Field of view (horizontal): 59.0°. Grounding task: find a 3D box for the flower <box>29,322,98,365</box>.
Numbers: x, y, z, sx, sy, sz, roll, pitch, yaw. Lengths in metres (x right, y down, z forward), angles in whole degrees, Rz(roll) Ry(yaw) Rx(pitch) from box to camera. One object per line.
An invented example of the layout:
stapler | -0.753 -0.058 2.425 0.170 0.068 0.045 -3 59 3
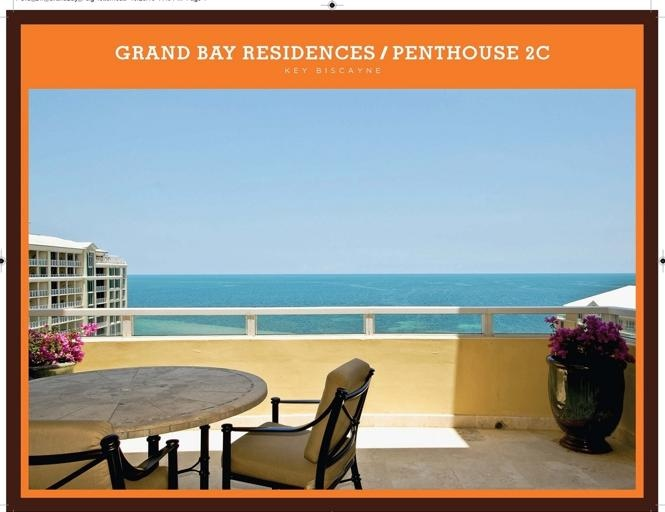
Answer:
flower | -2.216 0.727 4.702 0.579 0.273 0.535 -1 -4 32

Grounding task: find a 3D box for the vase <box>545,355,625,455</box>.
vase | 1.906 1.134 4.481 0.586 0.616 0.612 -6 -15 39

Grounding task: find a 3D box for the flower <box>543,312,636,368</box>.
flower | 1.982 0.675 4.503 0.592 0.372 0.568 0 -14 -3
